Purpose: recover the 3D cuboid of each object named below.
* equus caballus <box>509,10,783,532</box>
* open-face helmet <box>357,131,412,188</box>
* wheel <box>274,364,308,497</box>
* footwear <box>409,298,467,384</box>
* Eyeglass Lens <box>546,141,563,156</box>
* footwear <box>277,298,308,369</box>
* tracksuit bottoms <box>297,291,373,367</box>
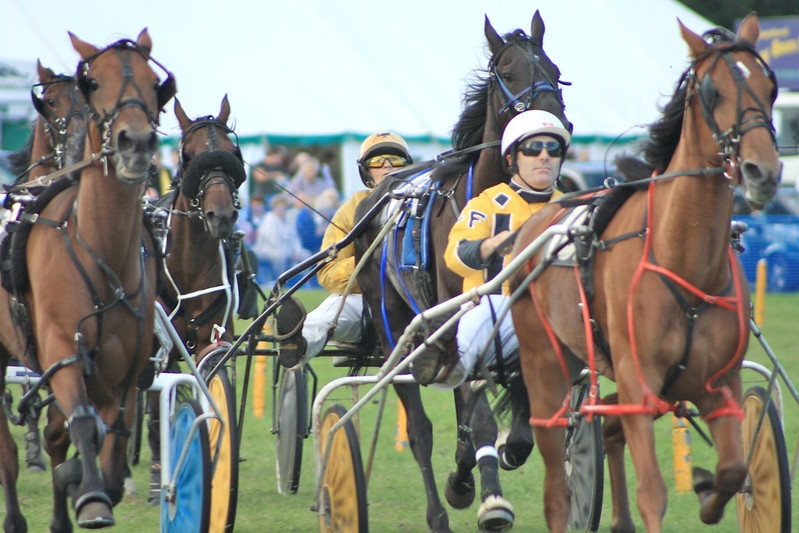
[{"bbox_3d":[1.688,0.081,12.859,1.882,3.225,0.724,-9,-14,37],"label":"equus caballus"},{"bbox_3d":[-0.141,-0.868,15.334,0.372,0.460,0.446,1,-23,-5],"label":"open-face helmet"},{"bbox_3d":[-0.809,1.227,15.004,0.261,0.796,0.797,2,18,-7],"label":"wheel"},{"bbox_3d":[0.263,0.503,13.279,0.122,0.501,0.309,34,3,-35],"label":"footwear"},{"bbox_3d":[1.062,-0.808,13.443,0.098,0.044,0.098,3,7,-21],"label":"Eyeglass Lens"},{"bbox_3d":[-0.774,0.468,14.490,0.187,0.549,0.220,8,-1,31],"label":"footwear"},{"bbox_3d":[-0.488,0.417,14.842,0.339,0.539,0.212,36,-23,34],"label":"tracksuit bottoms"}]
